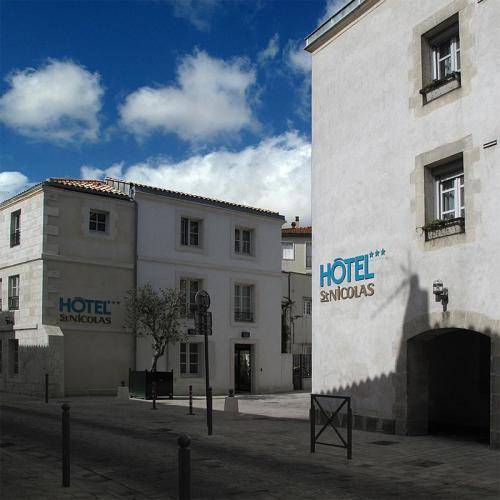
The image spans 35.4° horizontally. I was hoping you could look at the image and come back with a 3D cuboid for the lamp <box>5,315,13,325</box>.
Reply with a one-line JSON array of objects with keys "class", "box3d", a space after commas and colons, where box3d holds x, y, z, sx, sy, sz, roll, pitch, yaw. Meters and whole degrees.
[{"class": "lamp", "box3d": [-9.088, 2.656, 29.559, 0.309, 0.345, 0.080, 4, 3, 32]}]
